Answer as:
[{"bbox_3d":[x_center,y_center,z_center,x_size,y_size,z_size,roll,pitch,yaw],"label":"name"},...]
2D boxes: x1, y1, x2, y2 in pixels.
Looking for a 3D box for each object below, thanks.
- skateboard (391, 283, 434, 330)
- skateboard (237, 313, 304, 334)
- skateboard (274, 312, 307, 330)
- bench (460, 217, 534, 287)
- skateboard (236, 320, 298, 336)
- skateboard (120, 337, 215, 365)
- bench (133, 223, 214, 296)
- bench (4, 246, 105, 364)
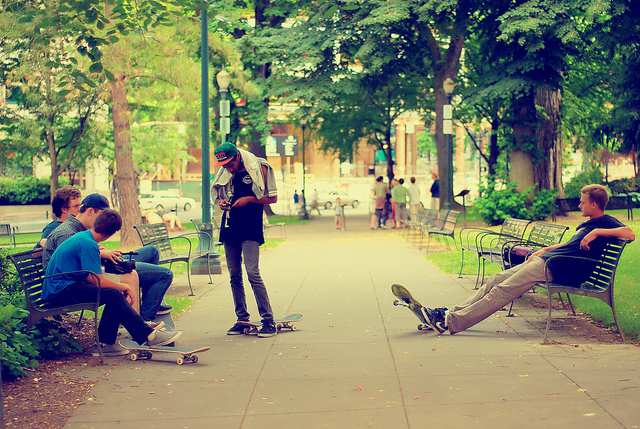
[{"bbox_3d":[1.580,1.541,14.159,0.193,1.326,0.363,-42,2,-11],"label":"skateboard"},{"bbox_3d":[-0.828,1.942,14.477,1.314,0.213,0.390,-3,9,-37],"label":"skateboard"},{"bbox_3d":[-0.558,1.926,14.590,0.190,0.082,0.609,28,26,35],"label":"skateboard"},{"bbox_3d":[3.951,0.860,17.884,1.034,1.525,2.358,0,-1,-17],"label":"bench"},{"bbox_3d":[-1.010,2.009,14.539,1.056,0.167,0.376,1,0,-44],"label":"skateboard"},{"bbox_3d":[-2.633,2.235,13.417,1.534,0.405,0.441,0,3,12],"label":"skateboard"},{"bbox_3d":[-3.339,0.865,17.592,0.965,0.988,1.306,12,3,10],"label":"bench"},{"bbox_3d":[-4.405,1.247,13.222,1.219,1.297,0.757,0,4,19],"label":"bench"}]
